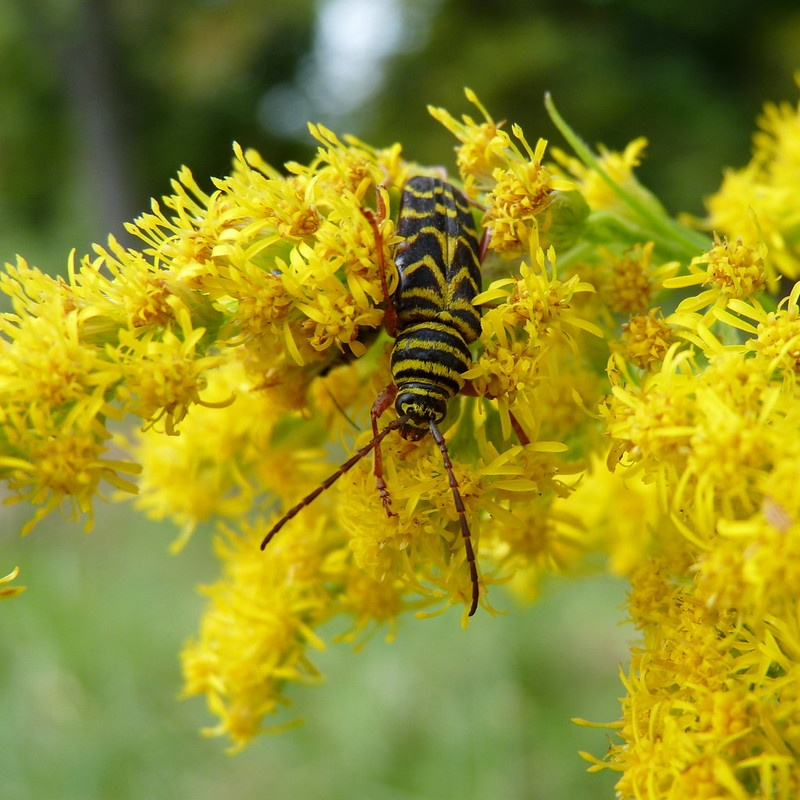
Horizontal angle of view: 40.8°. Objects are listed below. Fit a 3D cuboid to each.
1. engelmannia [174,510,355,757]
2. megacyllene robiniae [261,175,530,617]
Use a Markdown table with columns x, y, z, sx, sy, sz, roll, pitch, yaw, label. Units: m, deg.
| x | y | z | sx | sy | sz | roll | pitch | yaw | label |
| --- | --- | --- | --- | --- | --- | --- | --- | --- | --- |
| -0.273 | 0.403 | 2.055 | 0.272 | 0.475 | 0.269 | -6 | 7 | -22 | engelmannia |
| 0.061 | -0.030 | 1.793 | 0.401 | 0.691 | 0.160 | 6 | 4 | -2 | megacyllene robiniae |
